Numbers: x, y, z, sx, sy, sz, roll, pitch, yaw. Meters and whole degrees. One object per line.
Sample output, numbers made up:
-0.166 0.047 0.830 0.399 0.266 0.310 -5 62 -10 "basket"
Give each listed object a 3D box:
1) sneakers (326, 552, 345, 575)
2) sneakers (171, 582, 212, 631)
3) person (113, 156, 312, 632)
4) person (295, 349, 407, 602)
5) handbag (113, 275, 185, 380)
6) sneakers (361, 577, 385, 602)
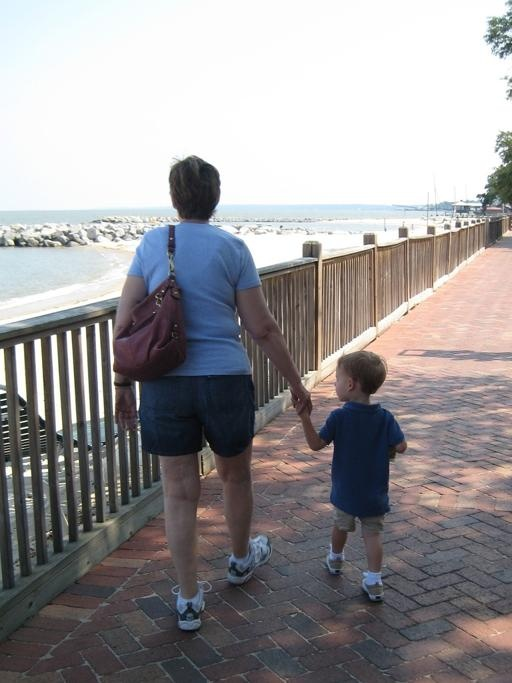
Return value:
0.335 0.942 2.394 0.043 0.051 0.120 0 3 5 "sneakers"
-0.252 0.958 2.051 0.090 0.083 0.187 0 3 0 "sneakers"
-0.179 0.210 1.984 0.534 1.623 0.654 2 5 27 "person"
0.357 0.517 2.180 0.404 0.963 0.190 -1 5 -11 "person"
-0.321 -0.038 1.728 0.126 0.278 0.239 35 -36 -20 "handbag"
0.451 0.954 2.156 0.046 0.053 0.124 1 2 6 "sneakers"
